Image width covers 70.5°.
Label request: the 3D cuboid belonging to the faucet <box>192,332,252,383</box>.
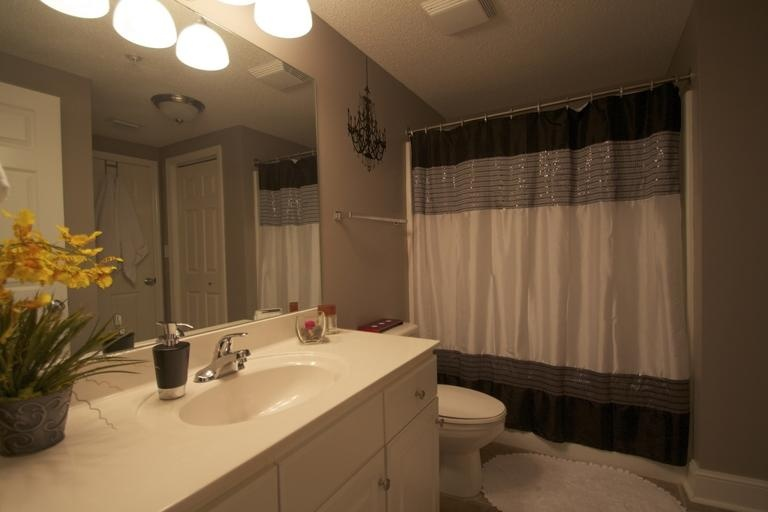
[{"bbox_3d":[-0.707,0.441,2.395,0.283,0.189,0.156,-9,-2,23],"label":"faucet"}]

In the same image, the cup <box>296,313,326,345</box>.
[{"bbox_3d":[-0.360,0.378,2.786,0.123,0.109,0.145,-2,1,38],"label":"cup"}]

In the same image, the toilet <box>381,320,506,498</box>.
[{"bbox_3d":[0.333,0.981,3.197,0.767,0.878,0.497,11,-7,-32],"label":"toilet"}]

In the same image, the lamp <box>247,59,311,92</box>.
[{"bbox_3d":[-0.552,-0.933,2.803,0.218,0.056,0.227,-8,-13,31],"label":"lamp"}]

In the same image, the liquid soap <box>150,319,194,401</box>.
[{"bbox_3d":[-0.871,0.429,2.224,0.130,0.315,0.148,-2,1,-37],"label":"liquid soap"}]
